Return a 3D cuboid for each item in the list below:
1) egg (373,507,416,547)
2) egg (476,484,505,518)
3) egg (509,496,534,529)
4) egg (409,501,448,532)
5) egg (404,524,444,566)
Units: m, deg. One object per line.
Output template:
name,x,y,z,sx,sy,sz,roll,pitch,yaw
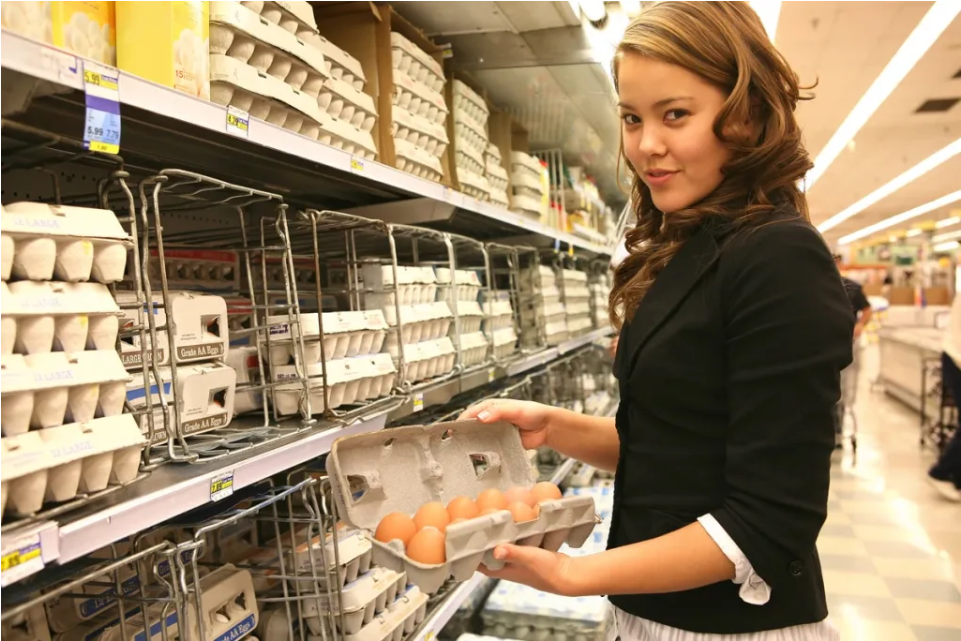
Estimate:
egg,-0.187,0.457,1.354,0.085,0.058,0.064,-23,9,28
egg,0.033,0.428,1.450,0.060,0.053,0.052,-2,-16,15
egg,0.094,0.439,1.406,0.051,0.046,0.042,7,-36,-17
egg,-0.116,0.452,1.413,0.051,0.051,0.060,-43,-5,-27
egg,-0.119,0.486,1.333,0.100,0.089,0.084,1,17,-13
